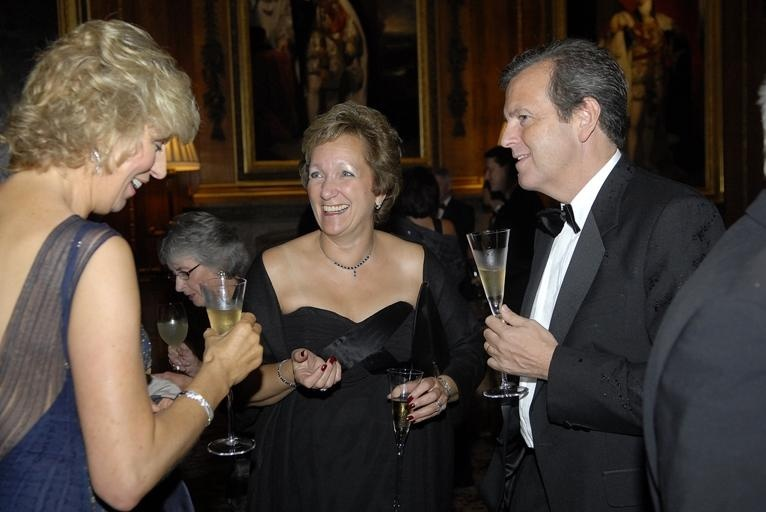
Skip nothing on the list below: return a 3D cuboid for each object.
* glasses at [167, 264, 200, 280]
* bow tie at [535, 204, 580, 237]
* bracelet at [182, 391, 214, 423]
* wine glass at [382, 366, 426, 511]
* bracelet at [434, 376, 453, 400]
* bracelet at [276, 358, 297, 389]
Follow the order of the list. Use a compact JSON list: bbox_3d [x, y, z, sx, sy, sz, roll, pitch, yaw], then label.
[{"bbox_3d":[-1.046,0.092,3.376,0.111,0.035,0.113,-9,10,42],"label":"glasses"},{"bbox_3d":[0.679,-0.152,2.521,0.063,0.064,0.239,-33,4,-12],"label":"bow tie"},{"bbox_3d":[-0.526,0.428,1.887,0.089,0.093,0.025,33,58,27],"label":"bracelet"},{"bbox_3d":[0.082,0.711,2.489,0.119,0.614,0.212,1,13,2],"label":"wine glass"},{"bbox_3d":[0.250,0.524,2.567,0.032,0.086,0.072,-28,18,3],"label":"bracelet"},{"bbox_3d":[-0.383,0.463,2.508,0.028,0.103,0.103,-10,23,-17],"label":"bracelet"}]
